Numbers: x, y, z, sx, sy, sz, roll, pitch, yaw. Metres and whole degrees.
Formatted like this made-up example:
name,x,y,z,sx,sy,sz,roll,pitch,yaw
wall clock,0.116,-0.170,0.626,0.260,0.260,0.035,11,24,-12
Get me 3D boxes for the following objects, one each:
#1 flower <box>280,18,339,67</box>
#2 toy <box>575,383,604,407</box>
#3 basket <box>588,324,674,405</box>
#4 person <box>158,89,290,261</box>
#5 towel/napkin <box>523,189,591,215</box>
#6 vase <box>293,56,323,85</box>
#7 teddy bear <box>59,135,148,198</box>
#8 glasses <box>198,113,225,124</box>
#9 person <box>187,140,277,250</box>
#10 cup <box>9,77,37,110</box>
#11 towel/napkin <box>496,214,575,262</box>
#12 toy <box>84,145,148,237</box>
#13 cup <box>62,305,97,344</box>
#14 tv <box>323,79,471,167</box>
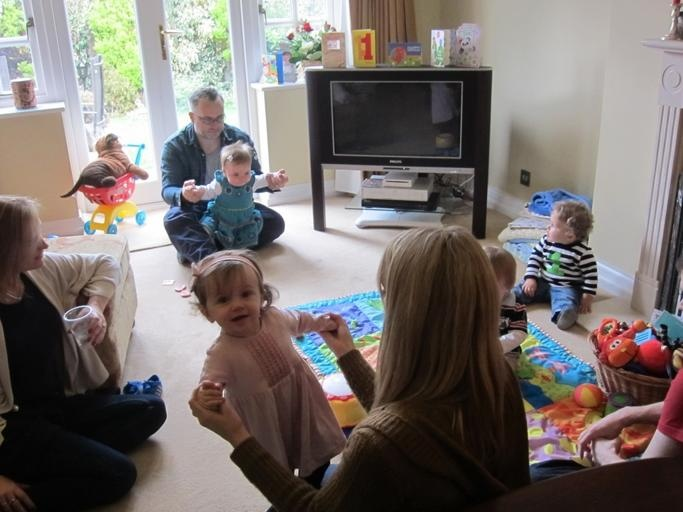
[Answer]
name,x,y,z,sx,sy,sz,roll,pitch,yaw
flower,-0.307,-1.790,4.249,0.393,0.347,0.236,8,22,31
toy,1.039,0.591,2.194,0.096,0.093,0.096,-2,38,-14
basket,1.200,0.459,2.092,0.217,0.151,0.193,-18,26,-17
person,-0.864,-0.559,3.593,0.928,1.167,0.850,21,35,29
towel/napkin,1.480,-0.390,3.602,0.278,0.095,0.267,-22,23,-26
vase,-0.314,-1.583,4.309,0.331,0.277,0.303,-3,14,-6
teddy bear,-1.817,-0.685,3.839,0.428,0.427,0.466,10,23,36
glasses,-0.882,-0.915,3.432,0.161,0.062,0.055,-9,19,-16
person,-0.789,-0.402,3.523,0.659,0.770,0.464,-8,28,-22
cup,-2.358,-1.184,3.751,0.150,0.210,0.179,-10,20,-20
towel/napkin,1.257,-0.146,3.564,0.326,0.100,0.323,-35,36,-26
toy,-1.801,-0.538,4.005,0.399,0.668,0.529,10,19,32
cup,-0.985,0.249,1.986,0.127,0.134,0.126,0,31,0
tv,0.491,-1.108,3.969,1.157,0.735,0.621,6,26,17
